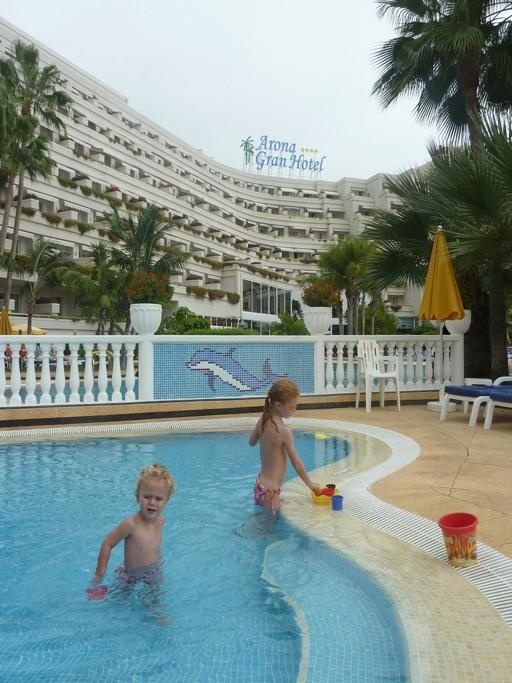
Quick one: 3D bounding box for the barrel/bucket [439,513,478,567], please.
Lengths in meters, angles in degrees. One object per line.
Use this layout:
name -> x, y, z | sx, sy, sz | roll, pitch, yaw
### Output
barrel/bucket -> 1.022, 0.952, 2.872 | 0.207, 0.220, 0.205 | -3, -6, 0

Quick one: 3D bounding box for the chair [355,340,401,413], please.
chair -> 1.978, 0.518, 9.636 | 0.638, 1.112, 0.671 | -1, 1, -6

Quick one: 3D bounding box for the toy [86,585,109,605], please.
toy -> -0.858, 1.343, 3.116 | 0.065, 0.044, 0.088 | 5, -4, -2

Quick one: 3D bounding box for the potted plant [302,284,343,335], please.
potted plant -> 1.865, -0.903, 15.844 | 1.038, 1.479, 1.013 | 11, -3, 30

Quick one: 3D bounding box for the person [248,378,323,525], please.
person -> 0.193, 0.743, 4.313 | 0.487, 0.736, 0.446 | -4, 2, -3
